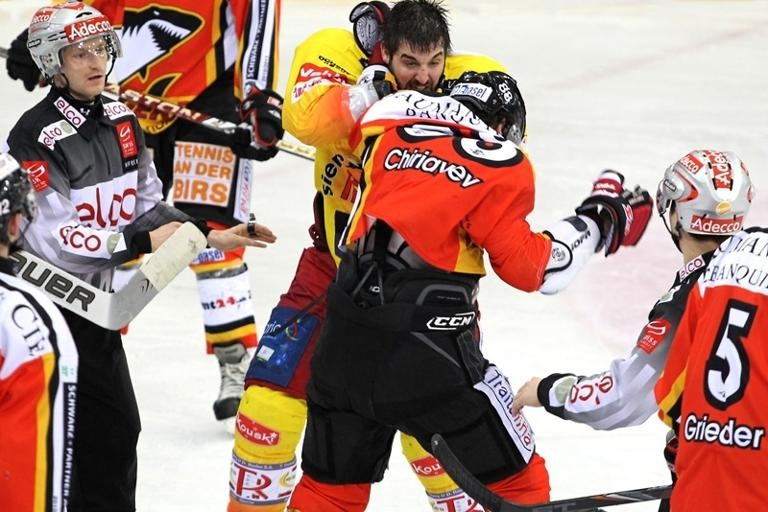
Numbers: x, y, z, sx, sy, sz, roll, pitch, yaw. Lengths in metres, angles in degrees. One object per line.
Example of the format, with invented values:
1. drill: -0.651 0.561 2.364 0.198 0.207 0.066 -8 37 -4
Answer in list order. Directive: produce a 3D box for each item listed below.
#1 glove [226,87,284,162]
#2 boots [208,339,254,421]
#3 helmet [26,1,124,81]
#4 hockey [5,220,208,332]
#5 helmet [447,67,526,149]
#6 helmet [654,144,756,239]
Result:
1. glove: -0.589 -0.657 4.323 0.307 0.346 0.160 -7 19 18
2. boots: -0.789 0.640 4.559 0.159 0.310 0.458 -3 48 6
3. helmet: -1.248 -0.890 3.627 0.389 0.330 0.295 6 8 21
4. hockey: -1.131 -0.049 3.547 0.618 0.158 0.602 27 41 13
5. helmet: 0.391 -0.573 3.388 0.236 0.274 0.327 26 9 42
6. helmet: 1.124 -0.243 3.135 0.270 0.316 0.332 3 19 1
